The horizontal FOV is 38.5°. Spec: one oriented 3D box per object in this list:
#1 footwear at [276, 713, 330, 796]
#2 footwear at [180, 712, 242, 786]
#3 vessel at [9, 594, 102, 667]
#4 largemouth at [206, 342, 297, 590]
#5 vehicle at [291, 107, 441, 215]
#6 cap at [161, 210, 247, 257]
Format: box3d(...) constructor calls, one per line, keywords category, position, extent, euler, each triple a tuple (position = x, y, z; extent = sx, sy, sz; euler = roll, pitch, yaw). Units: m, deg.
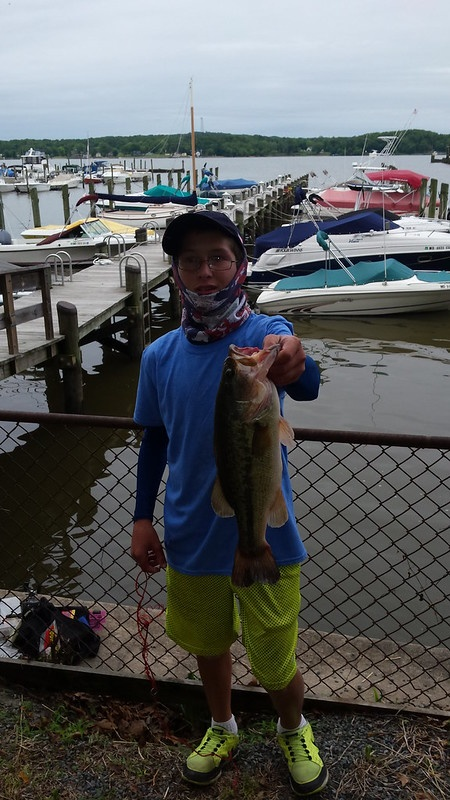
box3d(category="footwear", position=(0.258, 1.187, 2.127), extent=(0.099, 0.111, 0.263), euler=(-15, -11, -3))
box3d(category="footwear", position=(-0.042, 1.216, 2.247), extent=(0.112, 0.133, 0.302), euler=(3, 1, 30))
box3d(category="vessel", position=(-0.848, 1.176, 3.420), extent=(0.321, 0.134, 0.250), euler=(4, 7, 0))
box3d(category="largemouth", position=(0.071, 0.187, 1.569), extent=(0.211, 0.625, 0.357), euler=(0, 1, -1))
box3d(category="vehicle", position=(5.871, -9.453, 26.736), extent=(5.826, 4.671, 2.650), euler=(6, 19, 23))
box3d(category="cap", position=(-0.062, -0.502, 1.900), extent=(0.241, 0.144, 0.192), euler=(-1, 1, -6))
